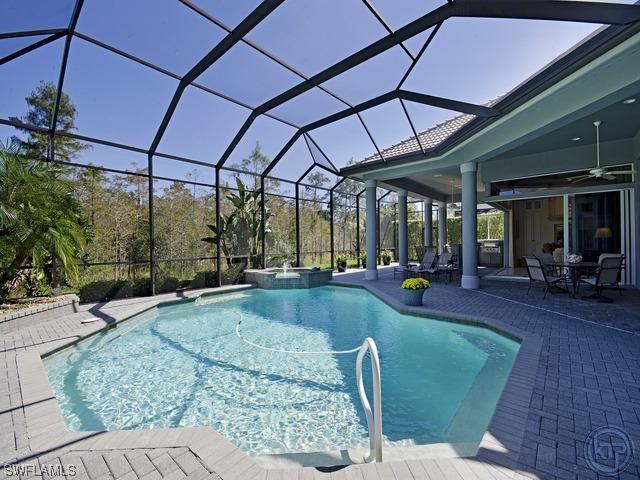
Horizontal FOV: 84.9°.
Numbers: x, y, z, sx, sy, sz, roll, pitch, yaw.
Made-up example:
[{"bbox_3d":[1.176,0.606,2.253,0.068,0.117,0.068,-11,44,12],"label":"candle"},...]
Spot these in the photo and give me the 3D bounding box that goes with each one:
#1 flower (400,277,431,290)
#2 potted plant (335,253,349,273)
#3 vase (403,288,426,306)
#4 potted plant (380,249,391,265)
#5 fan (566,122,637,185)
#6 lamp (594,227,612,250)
[{"bbox_3d":[2.357,1.119,8.797,0.457,0.212,0.462,0,2,41],"label":"flower"},{"bbox_3d":[0.915,1.242,17.154,0.789,0.812,0.638,1,-7,-3],"label":"potted plant"},{"bbox_3d":[2.428,1.511,9.037,0.561,0.356,0.494,1,-7,0],"label":"vase"},{"bbox_3d":[3.805,1.129,20.279,0.778,0.736,0.745,0,-8,0],"label":"potted plant"},{"bbox_3d":[7.753,-2.418,9.647,1.398,1.231,1.267,2,-4,-3],"label":"fan"},{"bbox_3d":[8.811,0.013,10.961,0.374,0.906,0.424,0,-1,-42],"label":"lamp"}]
